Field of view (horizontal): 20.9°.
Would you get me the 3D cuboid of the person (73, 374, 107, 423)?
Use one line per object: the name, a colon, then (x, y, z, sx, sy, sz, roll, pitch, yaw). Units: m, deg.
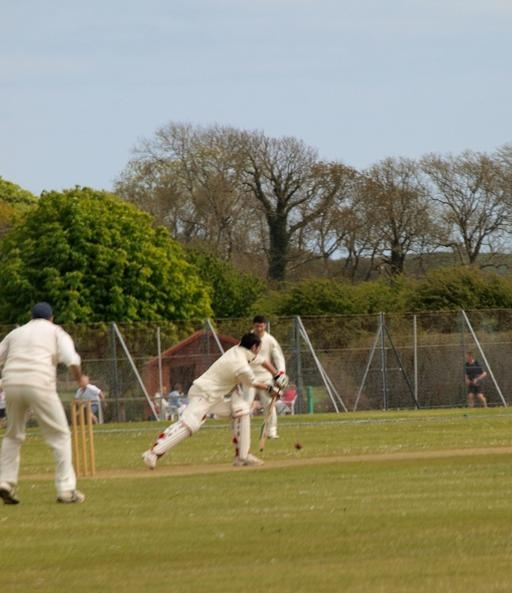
person: (-2.982, 1.943, 24.812, 0.504, 0.959, 0.284, -12, -24, 4)

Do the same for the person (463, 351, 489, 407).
person: (4.457, 1.735, 28.488, 0.548, 1.108, 0.373, -5, -7, 35)

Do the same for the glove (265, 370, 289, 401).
glove: (0.268, 1.052, 16.481, 0.149, 0.329, 0.241, 23, -15, -5)

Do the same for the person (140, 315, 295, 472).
person: (-0.283, 1.237, 16.203, 1.132, 1.494, 2.827, -3, -6, 12)

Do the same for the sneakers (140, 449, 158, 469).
sneakers: (-1.112, 1.771, 14.996, 0.096, 0.210, 0.208, 30, 12, -27)

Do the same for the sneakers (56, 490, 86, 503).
sneakers: (-1.757, 1.942, 13.319, 0.189, 0.079, 0.127, 5, -17, -44)

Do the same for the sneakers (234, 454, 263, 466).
sneakers: (-0.103, 1.859, 15.662, 0.360, 0.163, 0.121, -1, 4, -3)

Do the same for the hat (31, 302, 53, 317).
hat: (-2.139, 0.148, 13.969, 0.140, 0.165, 0.189, 1, -5, -8)
